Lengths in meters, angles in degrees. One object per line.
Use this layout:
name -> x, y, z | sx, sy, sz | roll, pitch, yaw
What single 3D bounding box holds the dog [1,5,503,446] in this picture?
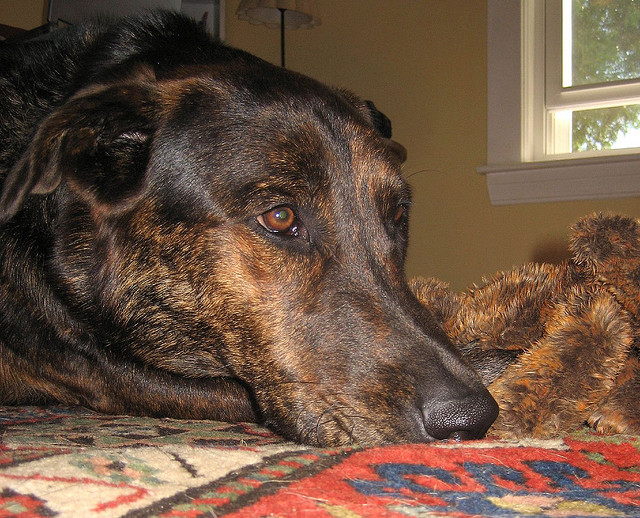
dog -> -0.222, -0.055, 1.884 | 1.499, 0.473, 0.885 | 23, 17, 30
